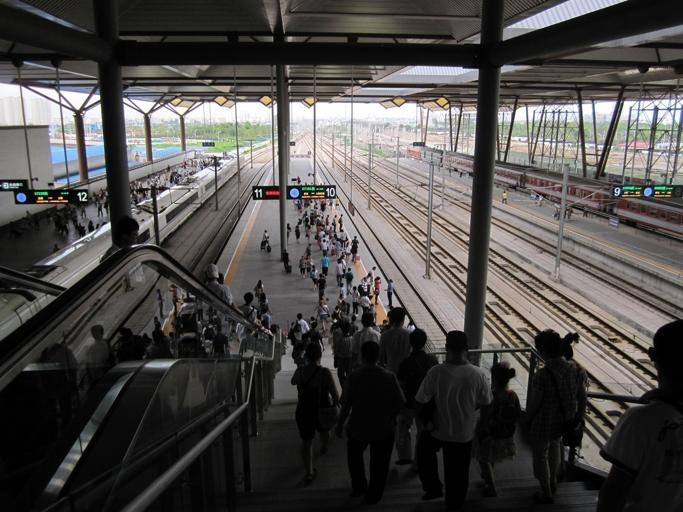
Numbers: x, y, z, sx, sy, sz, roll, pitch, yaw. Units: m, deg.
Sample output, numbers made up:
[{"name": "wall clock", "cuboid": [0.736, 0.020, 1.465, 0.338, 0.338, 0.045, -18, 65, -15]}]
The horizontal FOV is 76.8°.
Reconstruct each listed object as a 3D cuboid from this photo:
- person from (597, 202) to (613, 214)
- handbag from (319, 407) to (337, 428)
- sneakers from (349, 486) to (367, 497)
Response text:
[{"name": "person", "cuboid": [21.271, -3.902, 34.641, 0.448, 0.975, 1.389, -4, 16, -15]}, {"name": "handbag", "cuboid": [-0.163, 1.815, 4.949, 0.216, 0.229, 0.216, -1, 7, 1]}, {"name": "sneakers", "cuboid": [0.158, 2.188, 3.995, 0.117, 0.090, 0.119, 2, 1, -10]}]
